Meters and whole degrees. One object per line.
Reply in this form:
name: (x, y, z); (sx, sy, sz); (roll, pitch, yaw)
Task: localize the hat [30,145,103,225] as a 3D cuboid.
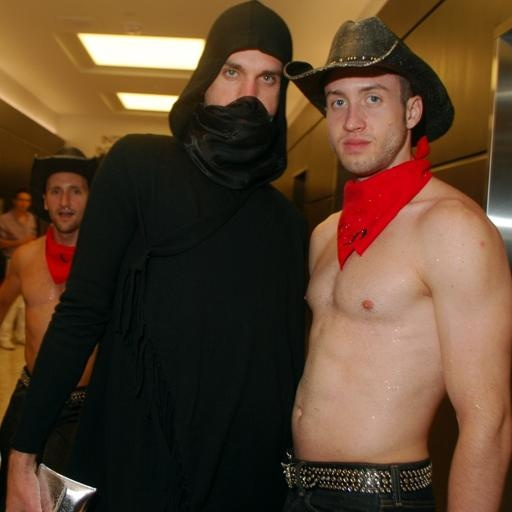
hat: (-1.054, -0.423, 2.697); (0.332, 0.161, 0.414); (3, -37, -10)
